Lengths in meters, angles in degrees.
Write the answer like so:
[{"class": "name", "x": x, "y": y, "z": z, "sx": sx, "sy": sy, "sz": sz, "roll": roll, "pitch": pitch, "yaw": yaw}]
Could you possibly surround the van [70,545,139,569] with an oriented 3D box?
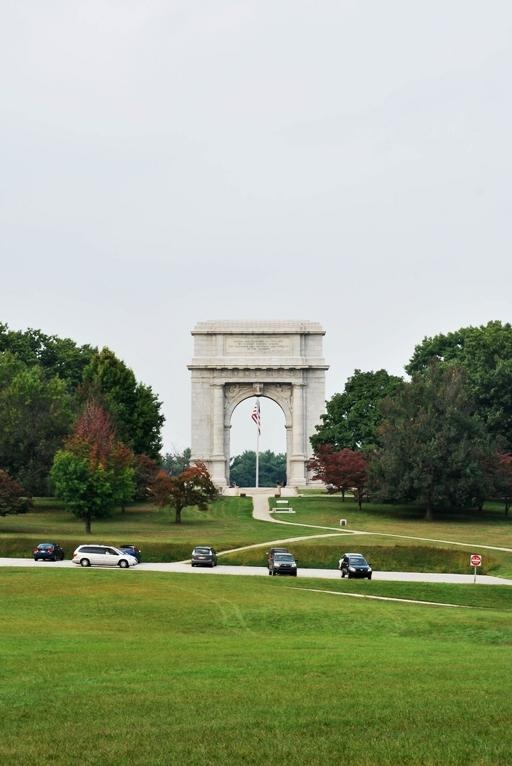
[{"class": "van", "x": -6.286, "y": 7.280, "z": 64.620, "sx": 2.218, "sy": 0.878, "sz": 1.078, "roll": -1, "pitch": -5, "yaw": 9}]
